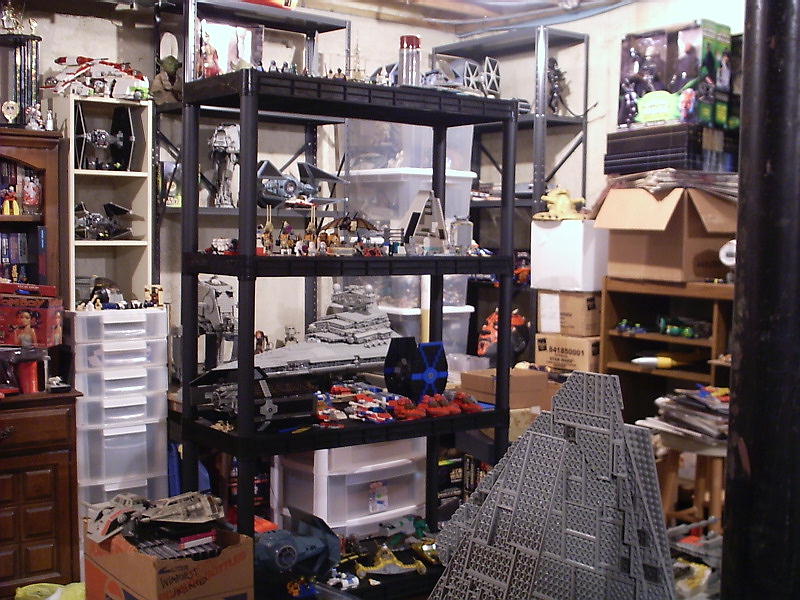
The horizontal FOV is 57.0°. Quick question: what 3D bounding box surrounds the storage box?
[{"bbox_3d":[1.383,-0.216,4.769,1.143,1.923,1.913,-5,9,-34],"label":"storage box"}]
